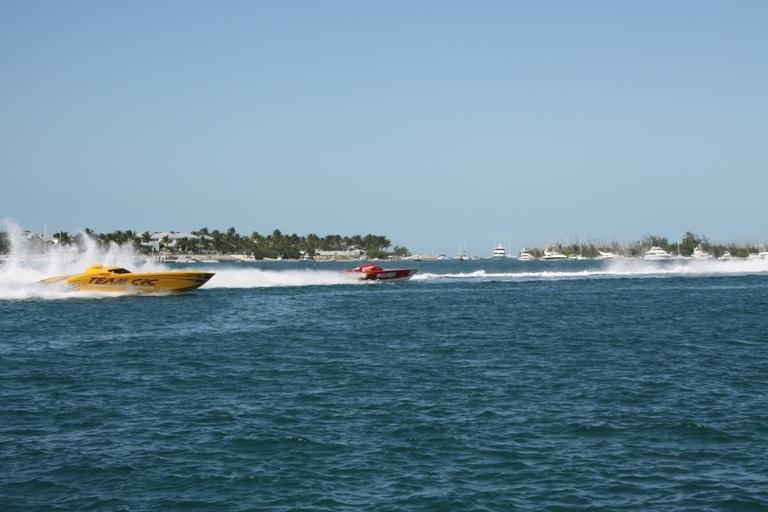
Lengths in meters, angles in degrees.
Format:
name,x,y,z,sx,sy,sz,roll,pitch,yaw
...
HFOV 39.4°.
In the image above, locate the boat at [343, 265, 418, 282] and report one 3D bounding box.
name,x,y,z,sx,sy,sz,roll,pitch,yaw
boat,0.187,1.560,93.413,5.713,0.844,1.744,-1,5,-9
